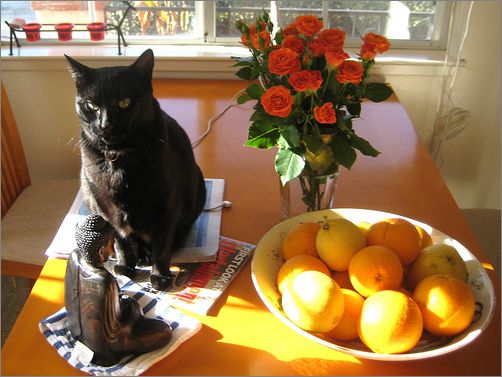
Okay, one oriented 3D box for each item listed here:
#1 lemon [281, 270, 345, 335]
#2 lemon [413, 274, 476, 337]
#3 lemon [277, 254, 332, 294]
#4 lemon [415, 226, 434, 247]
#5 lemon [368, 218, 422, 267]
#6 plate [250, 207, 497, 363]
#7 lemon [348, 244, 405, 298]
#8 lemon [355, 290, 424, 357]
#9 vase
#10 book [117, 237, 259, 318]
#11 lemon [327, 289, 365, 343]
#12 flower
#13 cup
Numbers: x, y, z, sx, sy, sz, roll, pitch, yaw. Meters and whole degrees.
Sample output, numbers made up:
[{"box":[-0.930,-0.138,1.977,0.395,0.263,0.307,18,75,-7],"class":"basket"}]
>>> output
[{"box":[0.120,0.201,0.770,0.126,0.110,0.107,-8,-7,16],"class":"lemon"},{"box":[0.363,0.214,0.805,0.106,0.102,0.106,-4,4,-4],"class":"lemon"},{"box":[0.104,0.159,0.821,0.083,0.099,0.084,3,16,1],"class":"lemon"},{"box":[0.380,0.107,0.895,0.027,0.033,0.028,-25,-8,-22],"class":"lemon"},{"box":[0.303,0.104,0.845,0.098,0.095,0.097,3,-3,-13],"class":"lemon"},{"box":[0.241,0.231,0.843,0.349,0.093,0.354,6,32,2],"class":"plate"},{"box":[0.246,0.159,0.834,0.098,0.100,0.095,2,15,3],"class":"lemon"},{"box":[0.250,0.242,0.781,0.111,0.112,0.105,0,20,3],"class":"lemon"},{"box":[0.149,-0.008,1.123,0.132,0.202,0.135,-4,35,-3],"class":"vase"},{"box":[-0.106,0.214,0.993,0.192,0.025,0.174,9,39,27],"class":"book"},{"box":[0.188,0.253,0.823,0.078,0.096,0.081,9,-10,5],"class":"lemon"},{"box":[0.118,-0.198,0.948,0.390,0.382,0.279,9,28,18],"class":"flower"},{"box":[0.153,-0.010,1.125,0.140,0.222,0.143,-1,52,1],"class":"cup"}]
